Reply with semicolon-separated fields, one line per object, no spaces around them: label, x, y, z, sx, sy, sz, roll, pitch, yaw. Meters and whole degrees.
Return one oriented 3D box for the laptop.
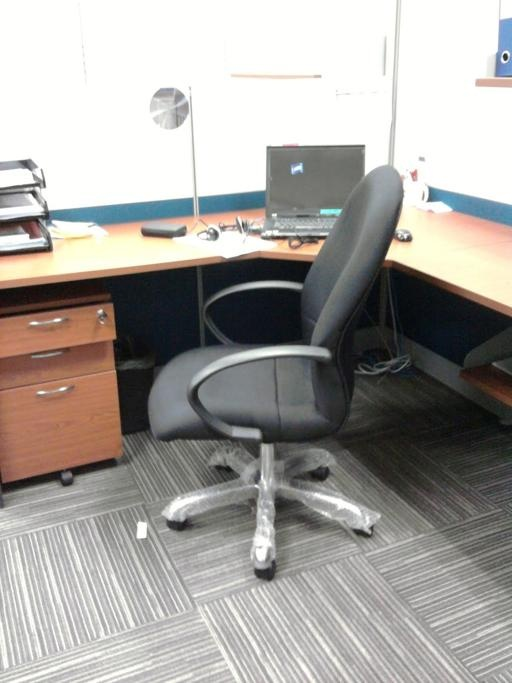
laptop;0.194;-0.516;2.125;0.487;0.337;0.354;-1;34;-1

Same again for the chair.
chair;0.026;0.063;1.418;0.615;0.909;0.559;-1;21;-2

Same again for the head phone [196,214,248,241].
head phone;-0.132;-0.401;1.993;0.162;0.058;0.127;-11;5;45
